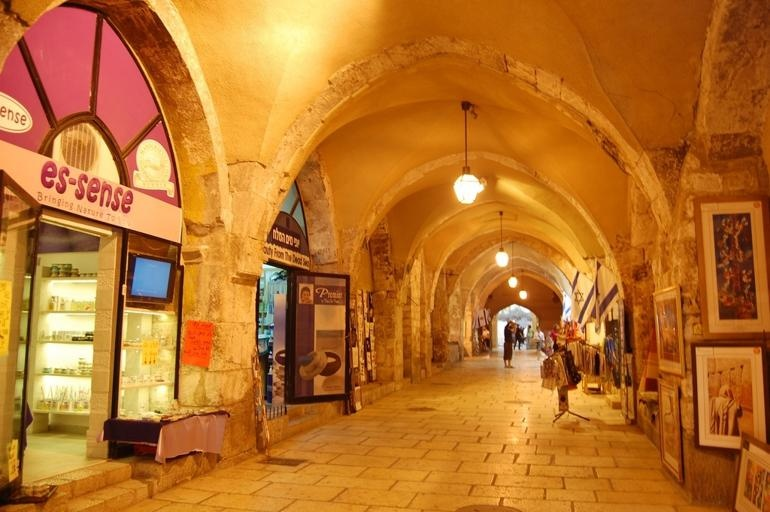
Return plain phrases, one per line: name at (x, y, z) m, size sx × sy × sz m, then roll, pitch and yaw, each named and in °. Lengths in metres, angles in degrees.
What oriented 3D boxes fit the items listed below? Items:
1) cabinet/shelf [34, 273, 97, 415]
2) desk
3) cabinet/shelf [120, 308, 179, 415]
cabinet/shelf at (-4.178, 1.138, 6.723) m, size 0.922 × 1.748 × 0.291 m, roll -2°, pitch -6°, yaw 19°
desk at (-2.432, 2.094, 5.877) m, size 0.532 × 0.594 × 1.325 m, roll -5°, pitch -8°, yaw 40°
cabinet/shelf at (-2.888, 1.271, 6.258) m, size 0.692 × 1.254 × 0.521 m, roll 5°, pitch -8°, yaw -39°
